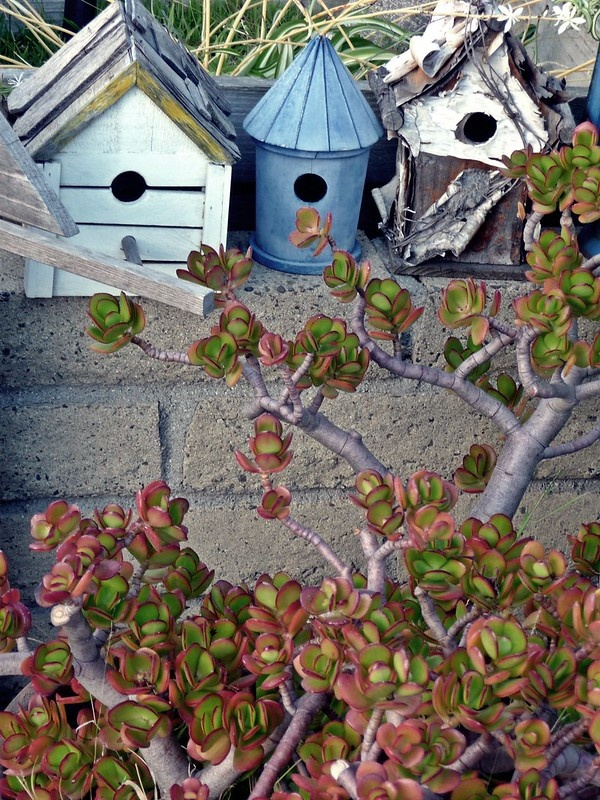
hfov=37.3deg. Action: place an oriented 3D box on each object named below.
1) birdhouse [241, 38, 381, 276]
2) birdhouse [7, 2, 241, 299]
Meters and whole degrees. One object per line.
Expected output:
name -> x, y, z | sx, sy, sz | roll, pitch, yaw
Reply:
birdhouse -> 0.018, -0.330, 1.235 | 0.191, 0.314, 0.152 | 2, 14, 3
birdhouse -> -0.190, -0.330, 1.132 | 0.328, 0.338, 0.159 | -11, 19, -42
